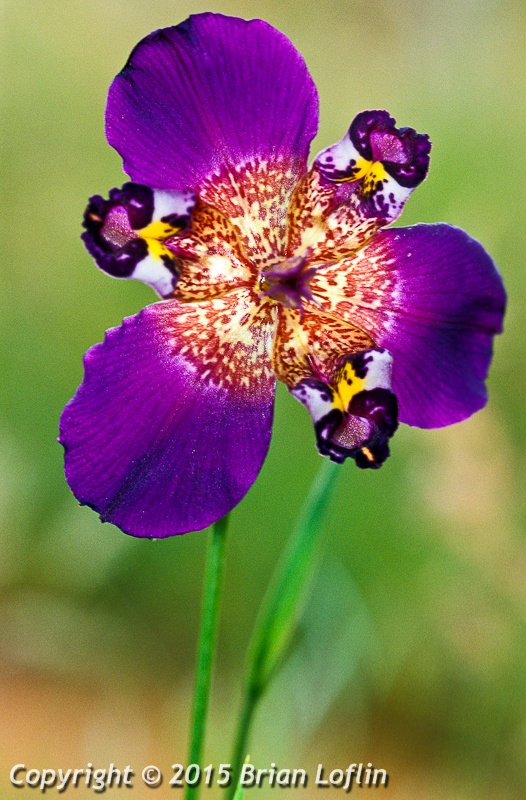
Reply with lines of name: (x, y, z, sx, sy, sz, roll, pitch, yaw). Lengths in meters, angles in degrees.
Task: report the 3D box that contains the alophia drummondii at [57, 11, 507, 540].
alophia drummondii: (0.022, -0.065, 0.453, 0.287, 0.320, 0.082, 14, -11, -14)
